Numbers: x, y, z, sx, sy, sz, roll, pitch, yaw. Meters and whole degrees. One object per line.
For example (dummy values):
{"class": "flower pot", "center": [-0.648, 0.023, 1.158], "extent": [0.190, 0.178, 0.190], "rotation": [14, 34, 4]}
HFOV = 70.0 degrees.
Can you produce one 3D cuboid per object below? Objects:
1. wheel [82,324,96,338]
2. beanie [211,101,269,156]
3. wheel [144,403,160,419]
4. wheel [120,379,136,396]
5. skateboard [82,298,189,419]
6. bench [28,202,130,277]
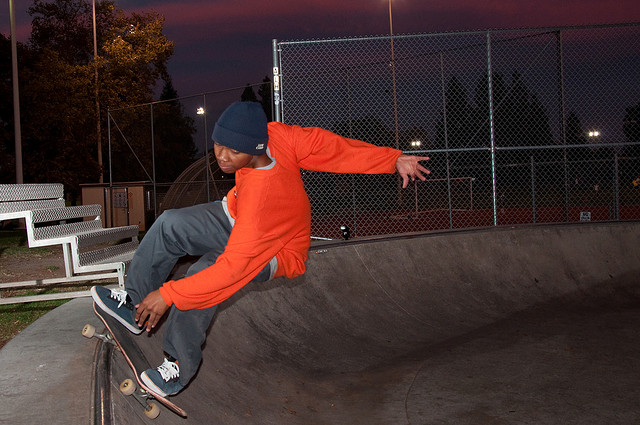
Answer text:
{"class": "wheel", "center": [-1.797, 0.931, 3.574], "extent": [0.092, 0.109, 0.086], "rotation": [-1, 2, 0]}
{"class": "beanie", "center": [-0.631, -0.718, 3.681], "extent": [0.479, 0.410, 0.512], "rotation": [16, 6, 14]}
{"class": "wheel", "center": [-1.246, 1.496, 3.441], "extent": [0.098, 0.099, 0.062], "rotation": [-25, -26, -14]}
{"class": "wheel", "center": [-1.446, 1.328, 3.458], "extent": [0.107, 0.137, 0.119], "rotation": [-2, 2, -21]}
{"class": "skateboard", "center": [-1.404, 1.135, 3.496], "extent": [0.165, 1.013, 0.299], "rotation": [-40, -4, 7]}
{"class": "bench", "center": [-2.945, 0.285, 5.830], "extent": [0.680, 0.748, 1.886], "rotation": [-9, 3, -5]}
